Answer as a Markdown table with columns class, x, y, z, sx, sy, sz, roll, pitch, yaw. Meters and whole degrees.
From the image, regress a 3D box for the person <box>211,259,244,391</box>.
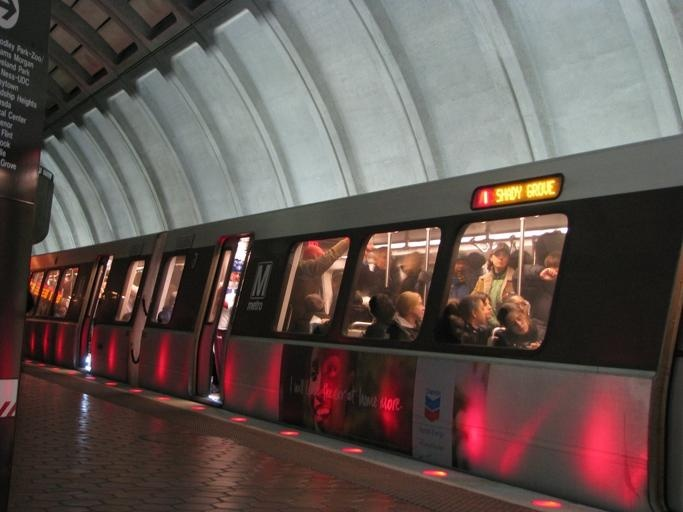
| class | x | y | z | sx | sy | sz | roll | pitch | yaw |
| --- | --- | --- | --- | --- | --- | --- | --- | --- | --- |
| person | -1.939 | 1.252 | 8.100 | 0.240 | 2.392 | 0.247 | 10 | -11 | 8 |
